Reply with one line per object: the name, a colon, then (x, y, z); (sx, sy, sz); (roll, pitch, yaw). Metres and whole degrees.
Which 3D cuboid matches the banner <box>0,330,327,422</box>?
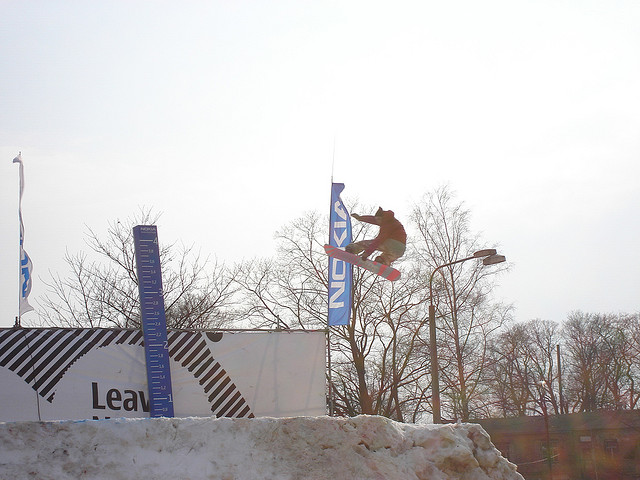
banner: (-3.567, 3.102, 16.142); (7.086, 2.244, 0.658); (0, -5, -17)
